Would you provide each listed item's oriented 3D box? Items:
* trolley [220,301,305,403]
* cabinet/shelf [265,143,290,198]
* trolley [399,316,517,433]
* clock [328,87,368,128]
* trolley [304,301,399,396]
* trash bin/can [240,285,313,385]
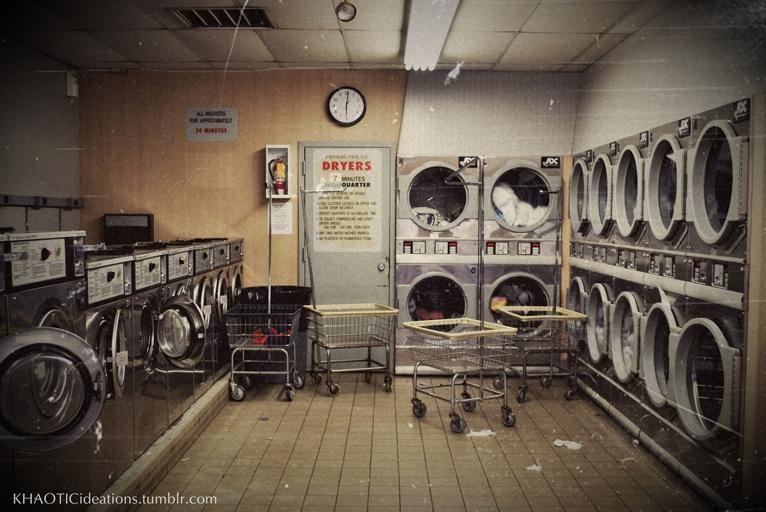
[{"bbox_3d":[-1.006,0.821,4.717,0.732,0.906,0.723,0,-2,-2],"label":"trolley"},{"bbox_3d":[-0.854,-0.673,4.334,0.222,0.421,0.129,-1,1,-9],"label":"cabinet/shelf"},{"bbox_3d":[0.629,0.961,4.277,0.642,0.766,0.784,4,-6,-22],"label":"trolley"},{"bbox_3d":[-0.293,-1.186,4.228,0.319,0.275,0.238,-1,5,-5],"label":"clock"},{"bbox_3d":[-0.304,0.835,4.808,0.763,0.733,0.563,2,-4,-19],"label":"trolley"},{"bbox_3d":[-1.068,0.778,4.815,0.587,0.919,0.897,1,-8,-7],"label":"trash bin/can"}]
